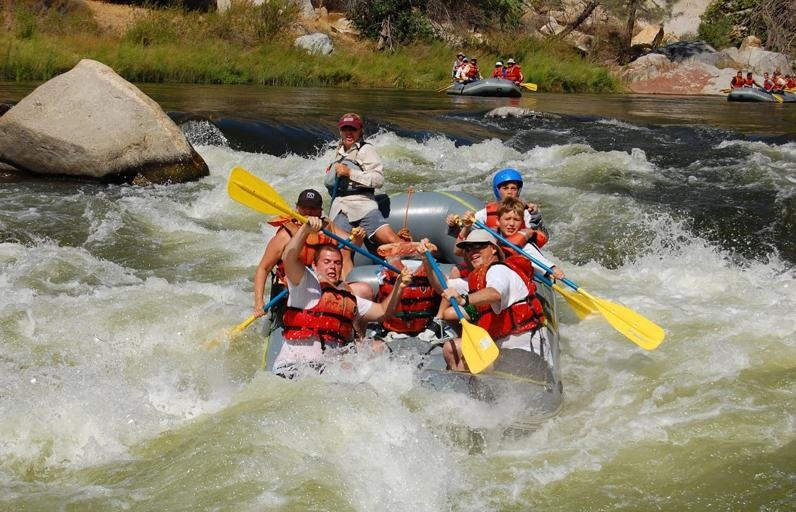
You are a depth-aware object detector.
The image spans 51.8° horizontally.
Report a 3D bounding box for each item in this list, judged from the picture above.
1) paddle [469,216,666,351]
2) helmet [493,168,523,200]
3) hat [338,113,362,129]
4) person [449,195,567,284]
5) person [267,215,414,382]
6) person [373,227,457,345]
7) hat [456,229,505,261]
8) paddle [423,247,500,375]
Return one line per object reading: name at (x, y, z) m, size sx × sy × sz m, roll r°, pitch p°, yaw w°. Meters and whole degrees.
paddle at (1.772, 0.318, 8.447) m, size 2.369 × 0.293 × 0.337 m, roll 30°, pitch 37°, yaw 14°
helmet at (1.213, -0.800, 8.712) m, size 0.342 × 0.412 × 0.343 m, roll -2°, pitch 91°, yaw -9°
hat at (-0.512, -1.596, 9.227) m, size 0.248 × 0.347 × 0.168 m, roll -1°, pitch 84°, yaw 6°
person at (1.094, -0.312, 8.529) m, size 0.881 × 0.478 × 1.243 m, roll 1°, pitch 80°, yaw 7°
person at (-0.551, 0.447, 7.709) m, size 0.831 × 1.005 × 1.369 m, roll -26°, pitch 47°, yaw 40°
person at (0.144, 0.338, 7.903) m, size 0.756 × 0.346 × 0.948 m, roll 1°, pitch 78°, yaw -8°
hat at (0.778, -0.159, 7.503) m, size 0.363 × 0.272 × 0.144 m, roll 20°, pitch 71°, yaw -28°
paddle at (0.502, 0.382, 7.634) m, size 0.389 × 0.079 × 1.596 m, roll -32°, pitch 58°, yaw 9°
